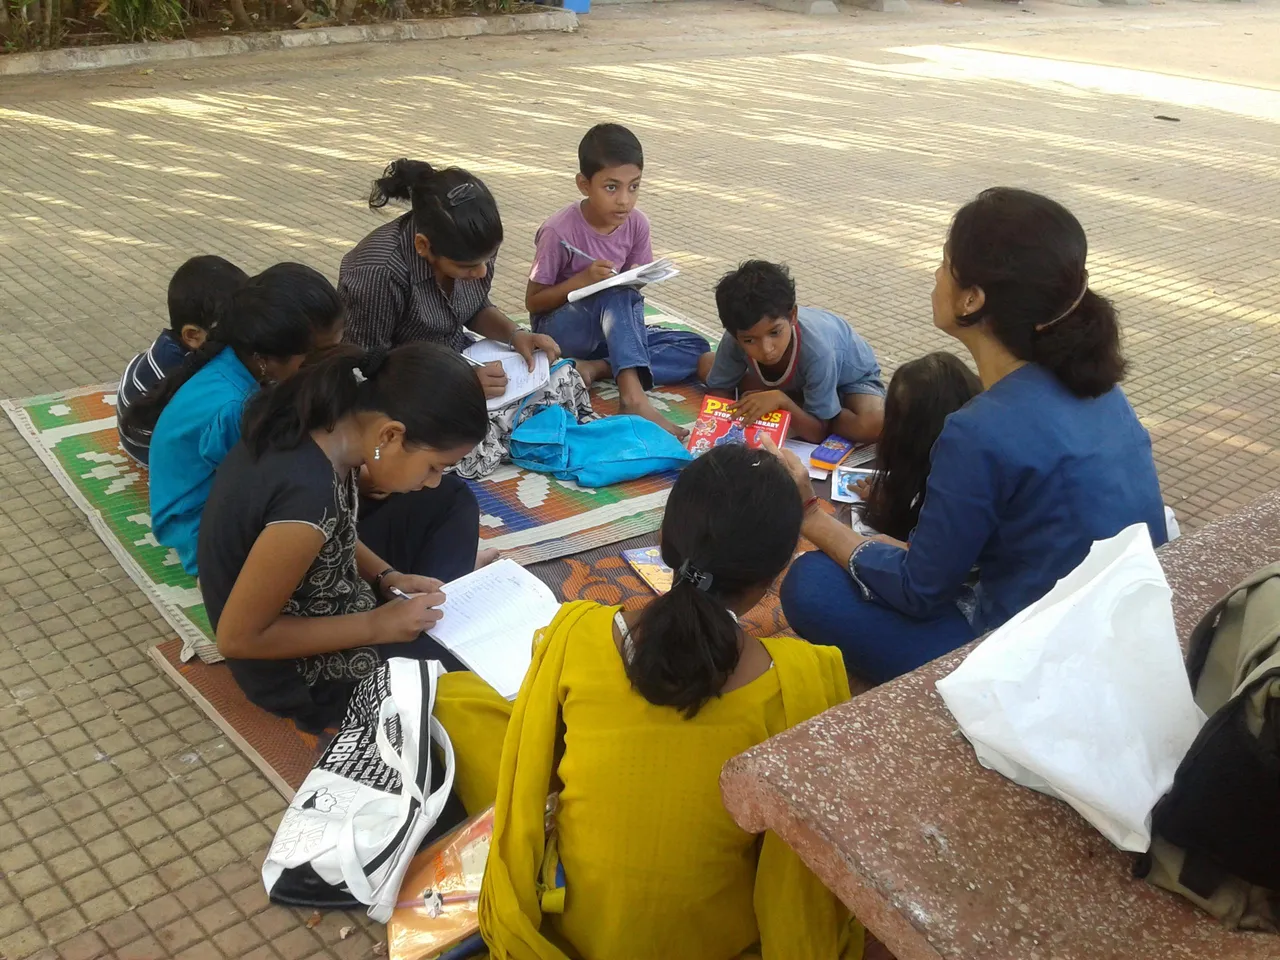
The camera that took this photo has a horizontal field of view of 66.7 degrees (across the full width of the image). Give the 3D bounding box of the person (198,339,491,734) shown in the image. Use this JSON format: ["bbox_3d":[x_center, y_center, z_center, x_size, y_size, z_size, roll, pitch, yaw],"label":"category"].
[{"bbox_3d":[-0.817,0.162,2.574,0.721,1.080,0.624,-1,53,-25],"label":"person"}]

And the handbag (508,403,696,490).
[{"bbox_3d":[-0.155,-0.128,3.962,0.469,0.146,0.509,17,21,41],"label":"handbag"}]

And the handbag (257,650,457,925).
[{"bbox_3d":[-0.519,0.745,2.359,0.477,0.224,0.582,17,75,27],"label":"handbag"}]

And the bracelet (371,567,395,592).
[{"bbox_3d":[-0.763,0.301,2.901,0.061,0.072,0.065,-4,-9,32],"label":"bracelet"}]

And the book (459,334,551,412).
[{"bbox_3d":[-0.552,-0.448,3.959,0.353,0.086,0.354,32,45,29],"label":"book"}]

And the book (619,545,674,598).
[{"bbox_3d":[0.020,0.319,3.387,0.176,0.024,0.222,-15,44,-25],"label":"book"}]

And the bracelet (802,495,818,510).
[{"bbox_3d":[0.520,0.074,3.015,0.040,0.034,0.040,24,38,37],"label":"bracelet"}]

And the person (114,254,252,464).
[{"bbox_3d":[-1.584,-0.417,3.489,0.556,0.698,0.515,12,25,-3],"label":"person"}]

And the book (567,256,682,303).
[{"bbox_3d":[-0.107,-0.866,4.305,0.442,0.261,0.441,-3,29,-9],"label":"book"}]
